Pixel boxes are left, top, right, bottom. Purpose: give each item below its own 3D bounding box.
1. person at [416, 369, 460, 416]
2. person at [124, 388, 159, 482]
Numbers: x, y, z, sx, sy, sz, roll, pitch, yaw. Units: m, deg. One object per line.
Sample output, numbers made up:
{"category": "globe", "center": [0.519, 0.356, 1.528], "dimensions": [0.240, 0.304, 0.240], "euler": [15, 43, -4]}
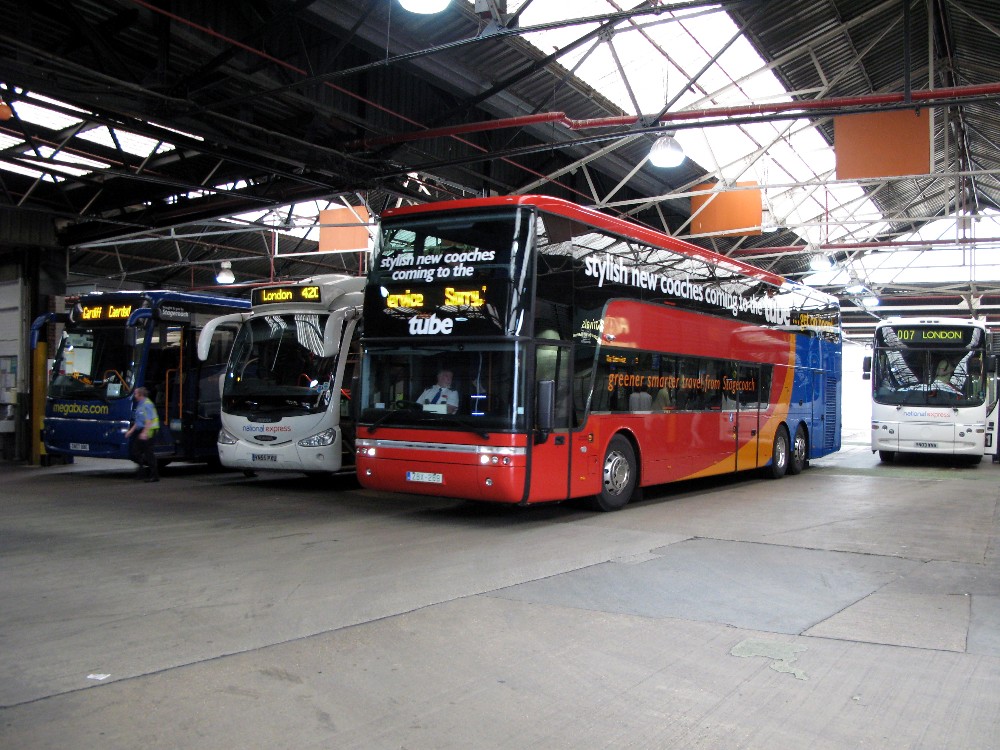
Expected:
{"category": "person", "center": [-0.915, 0.252, 10.863], "dimensions": [0.776, 0.640, 0.405], "euler": [4, 3, 23]}
{"category": "person", "center": [-7.969, 1.323, 15.847], "dimensions": [0.586, 2.212, 0.925], "euler": [1, 0, -26]}
